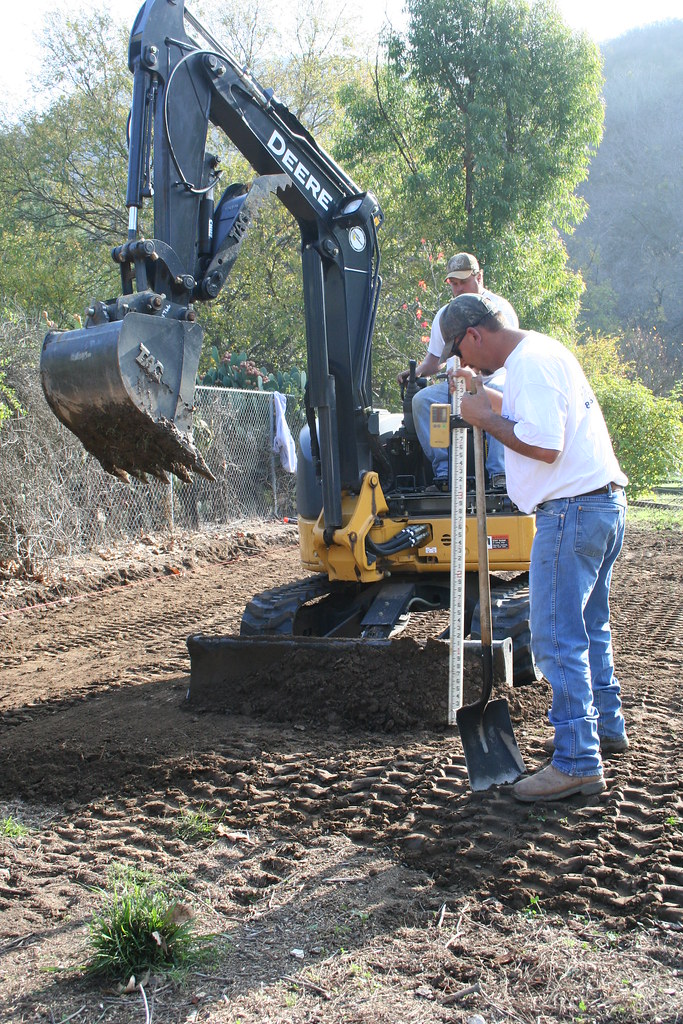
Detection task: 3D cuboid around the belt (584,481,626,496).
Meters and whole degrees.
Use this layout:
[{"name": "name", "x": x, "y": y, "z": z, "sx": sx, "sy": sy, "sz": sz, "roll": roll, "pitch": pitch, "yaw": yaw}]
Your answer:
[{"name": "belt", "x": 0.943, "y": -0.082, "z": 3.486, "sx": 0.106, "sy": 0.036, "sz": 0.074, "roll": -21, "pitch": 3, "yaw": -9}]

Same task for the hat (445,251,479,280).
[{"name": "hat", "x": 0.722, "y": -1.463, "z": 5.795, "sx": 0.153, "sy": 0.119, "sz": 0.219, "roll": -3, "pitch": 12, "yaw": 28}]

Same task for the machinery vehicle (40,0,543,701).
[{"name": "machinery vehicle", "x": -0.167, "y": -0.807, "z": 4.852, "sx": 1.482, "sy": 3.447, "sz": 2.322, "roll": -1, "pitch": 8, "yaw": 28}]

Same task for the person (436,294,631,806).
[{"name": "person", "x": 0.734, "y": 0.096, "z": 3.575, "sx": 0.597, "sy": 1.809, "sz": 0.613, "roll": -3, "pitch": 8, "yaw": 15}]

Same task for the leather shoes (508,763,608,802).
[{"name": "leather shoes", "x": 0.767, "y": 0.951, "z": 3.480, "sx": 0.319, "sy": 0.140, "sz": 0.121, "roll": 1, "pitch": -5, "yaw": 1}]
